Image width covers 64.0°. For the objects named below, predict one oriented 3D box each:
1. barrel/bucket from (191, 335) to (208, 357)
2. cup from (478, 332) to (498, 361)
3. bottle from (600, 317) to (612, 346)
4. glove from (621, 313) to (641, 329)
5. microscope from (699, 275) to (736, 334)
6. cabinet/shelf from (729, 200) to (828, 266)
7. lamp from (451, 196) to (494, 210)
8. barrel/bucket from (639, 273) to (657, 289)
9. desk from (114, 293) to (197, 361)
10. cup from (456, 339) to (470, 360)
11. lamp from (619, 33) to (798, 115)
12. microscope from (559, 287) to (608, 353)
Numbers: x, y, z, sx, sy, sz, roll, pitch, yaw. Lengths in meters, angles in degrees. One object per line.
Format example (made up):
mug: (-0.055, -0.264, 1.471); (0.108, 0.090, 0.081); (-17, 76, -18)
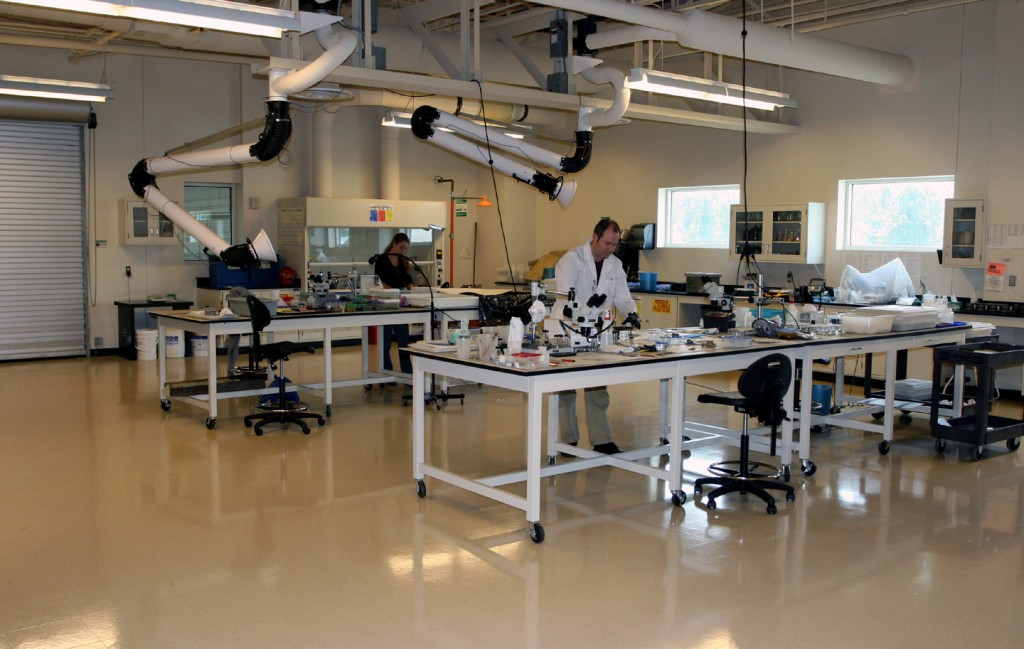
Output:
barrel/bucket: (-4.648, 0.316, 12.184); (0.314, 0.329, 0.347); (4, -5, -34)
cup: (-0.240, 0.184, 6.658); (0.207, 0.189, 0.322); (3, -12, 0)
bottle: (0.802, 0.062, 6.981); (0.099, 0.214, 0.198); (1, 5, 10)
glove: (1.088, -0.026, 7.392); (0.107, 0.070, 0.170); (11, -23, -14)
microscope: (2.042, -0.178, 8.122); (0.386, 0.504, 0.359); (-1, 3, -30)
cabinet/shelf: (3.691, -1.238, 11.186); (0.423, 0.718, 1.172); (-3, 5, -42)
lamp: (-0.675, -2.151, 14.427); (0.499, 0.141, 0.379); (2, 4, 17)
barrel/bucket: (2.041, -0.644, 12.255); (0.247, 0.242, 0.241); (2, 3, 0)
desk: (-5.372, -0.157, 12.488); (1.394, 1.197, 0.898); (-3, 8, -30)
cup: (-0.401, 0.199, 6.720); (0.146, 0.156, 0.140); (0, 5, 0)
lamp: (2.319, -2.695, 9.344); (2.243, 0.210, 0.325); (1, 27, -22)
microscope: (0.659, -0.017, 7.017); (0.494, 0.591, 0.436); (1, 1, 1)
